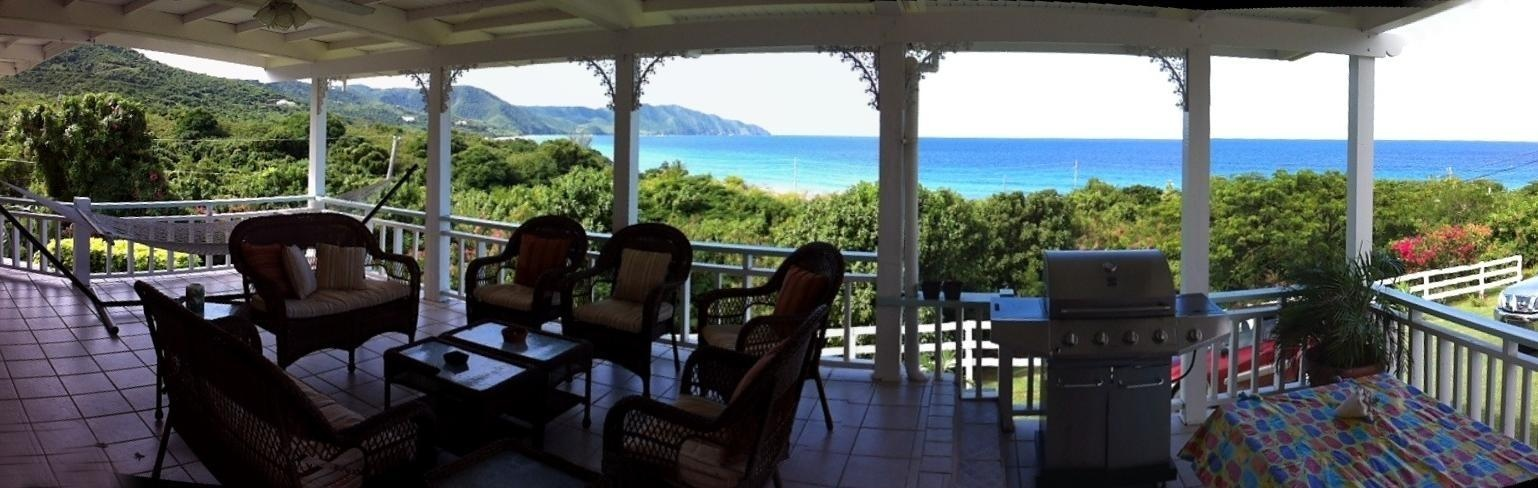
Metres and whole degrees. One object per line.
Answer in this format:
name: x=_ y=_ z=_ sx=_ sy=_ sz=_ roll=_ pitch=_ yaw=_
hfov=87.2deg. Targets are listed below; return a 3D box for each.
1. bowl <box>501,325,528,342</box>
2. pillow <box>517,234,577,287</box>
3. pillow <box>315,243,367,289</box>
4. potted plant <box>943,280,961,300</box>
bowl: x=-7.511 y=2.694 z=24.011 sx=0.717 sy=0.191 sz=0.600 roll=2 pitch=7 yaw=-25
pillow: x=-6.927 y=0.498 z=25.623 sx=2.319 sy=1.347 sz=0.474 roll=5 pitch=-3 yaw=10
pillow: x=-13.223 y=0.723 z=24.940 sx=2.328 sy=1.389 sz=0.666 roll=-1 pitch=-3 yaw=-11
potted plant: x=5.581 y=1.408 z=24.426 sx=0.733 sy=0.430 sz=0.694 roll=4 pitch=-5 yaw=8
